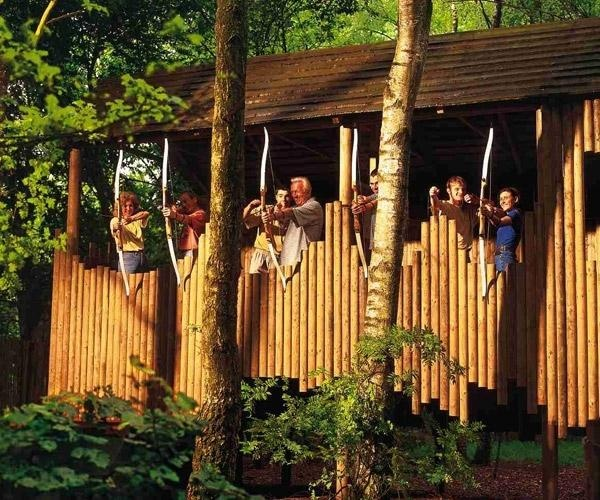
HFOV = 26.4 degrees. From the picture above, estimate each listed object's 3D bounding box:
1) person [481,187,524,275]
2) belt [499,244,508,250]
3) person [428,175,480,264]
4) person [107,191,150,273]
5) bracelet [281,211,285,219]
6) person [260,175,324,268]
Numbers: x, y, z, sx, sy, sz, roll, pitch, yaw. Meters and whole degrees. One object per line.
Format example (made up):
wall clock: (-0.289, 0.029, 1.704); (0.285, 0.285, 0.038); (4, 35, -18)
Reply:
person: (2.822, -0.292, 17.728); (0.465, 1.266, 0.982); (2, -3, 10)
belt: (2.832, -0.041, 17.840); (0.071, 0.070, 0.018); (7, 7, 39)
person: (2.181, -0.467, 18.164); (0.649, 1.243, 1.793); (2, -3, 7)
person: (-2.593, -0.282, 19.443); (0.540, 1.256, 1.051); (3, -3, -8)
bracelet: (-0.241, -0.515, 18.098); (0.022, 0.110, 0.093); (1, -4, 30)
person: (-0.094, -0.427, 18.518); (0.826, 1.389, 1.200); (3, -3, -1)
